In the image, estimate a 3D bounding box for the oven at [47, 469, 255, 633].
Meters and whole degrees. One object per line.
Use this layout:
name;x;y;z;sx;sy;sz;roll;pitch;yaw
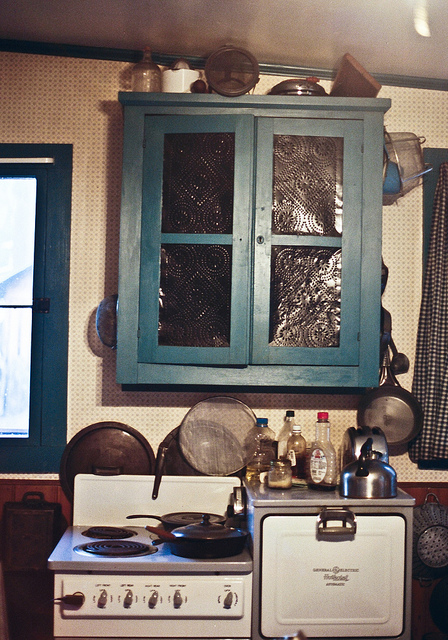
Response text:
oven;-0.221;0.764;2.083;0.699;0.452;0.601;0;-6;-1

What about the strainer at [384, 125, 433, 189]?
strainer;0.709;-0.634;2.506;0.215;0.245;0.157;0;6;6

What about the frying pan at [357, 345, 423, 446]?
frying pan;0.636;0.280;2.523;0.237;0.372;0.047;-3;2;-2

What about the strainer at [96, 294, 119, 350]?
strainer;-0.427;-0.001;2.375;0.072;0.173;0.163;2;-4;-1

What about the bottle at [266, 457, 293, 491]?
bottle;0.190;0.538;2.255;0.108;0.097;0.094;-1;-4;13

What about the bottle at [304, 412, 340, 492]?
bottle;0.340;0.455;2.277;0.108;0.249;0.169;1;2;8
